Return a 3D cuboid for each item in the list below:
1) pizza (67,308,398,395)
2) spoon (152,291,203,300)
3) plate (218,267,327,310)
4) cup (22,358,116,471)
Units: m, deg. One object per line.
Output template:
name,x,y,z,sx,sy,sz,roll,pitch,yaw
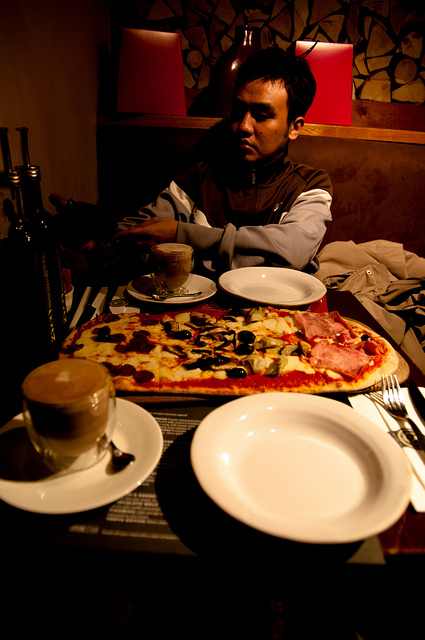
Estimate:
pizza,0.037,0.064,0.846,0.395,0.031,0.250,1,21,-1
spoon,-0.083,-0.055,1.072,0.109,0.015,0.016,-2,40,-28
plate,0.139,-0.083,1.130,0.254,0.040,0.260,8,27,7
cup,-0.168,0.116,0.562,0.104,0.113,0.083,-9,29,-24
